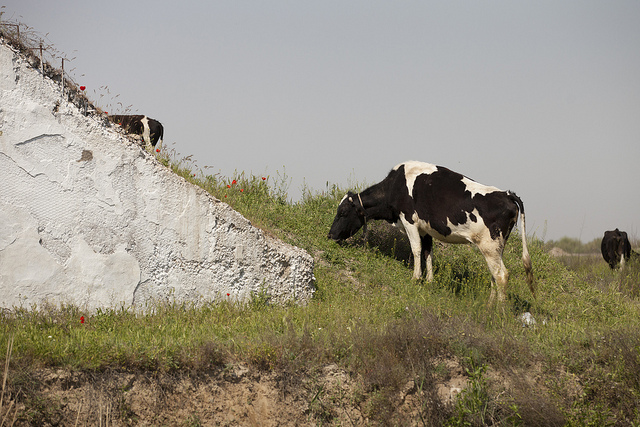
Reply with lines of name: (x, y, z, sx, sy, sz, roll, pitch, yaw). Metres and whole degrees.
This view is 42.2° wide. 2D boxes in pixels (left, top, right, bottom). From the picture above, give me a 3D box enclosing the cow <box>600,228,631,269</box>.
cow: (8.769, 1.105, 24.458, 0.693, 1.289, 1.800, 5, 15, 17)
